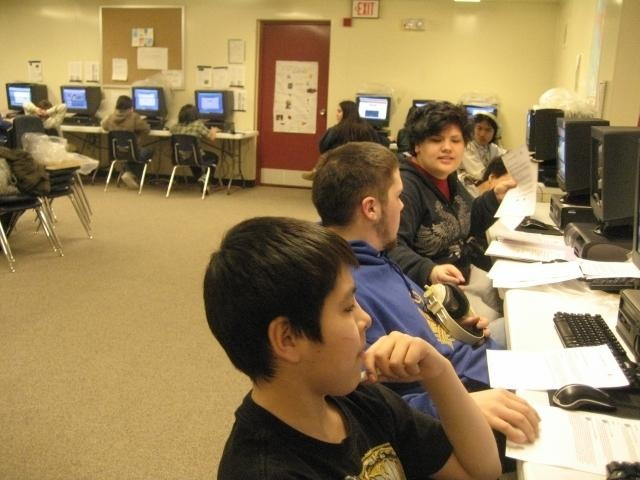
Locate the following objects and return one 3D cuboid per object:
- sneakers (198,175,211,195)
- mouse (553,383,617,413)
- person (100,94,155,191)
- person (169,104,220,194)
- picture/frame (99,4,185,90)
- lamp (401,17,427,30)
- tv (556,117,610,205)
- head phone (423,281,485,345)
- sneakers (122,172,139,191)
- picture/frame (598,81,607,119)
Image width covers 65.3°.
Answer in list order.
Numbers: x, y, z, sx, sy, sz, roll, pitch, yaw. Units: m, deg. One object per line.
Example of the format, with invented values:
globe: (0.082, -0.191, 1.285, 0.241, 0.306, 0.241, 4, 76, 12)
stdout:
sneakers: (-1.697, -0.789, 7.294, 0.119, 0.362, 0.241, -4, 35, -7)
mouse: (0.696, 0.418, 1.313, 0.121, 0.049, 0.069, -1, 10, 9)
person: (-2.869, -1.445, 7.407, 0.696, 1.282, 0.626, 6, 21, -6)
person: (-1.823, -1.337, 7.209, 0.644, 1.173, 0.971, -4, 15, -16)
picture/frame: (-2.677, -2.971, 7.610, 1.291, 1.246, 0.045, 3, 14, 11)
lamp: (1.277, -2.906, 6.761, 0.308, 0.158, 0.054, 1, 14, 1)
tv: (1.539, -0.458, 2.935, 0.261, 0.442, 0.272, -1, 12, 7)
head phone: (0.439, 0.251, 1.752, 0.170, 0.116, 0.221, 21, 31, -40)
sneakers: (-2.858, -0.868, 7.485, 0.149, 0.253, 0.277, -31, -1, 6)
picture/frame: (2.281, -1.125, 4.023, 0.051, 0.281, 0.176, 7, 16, 22)
